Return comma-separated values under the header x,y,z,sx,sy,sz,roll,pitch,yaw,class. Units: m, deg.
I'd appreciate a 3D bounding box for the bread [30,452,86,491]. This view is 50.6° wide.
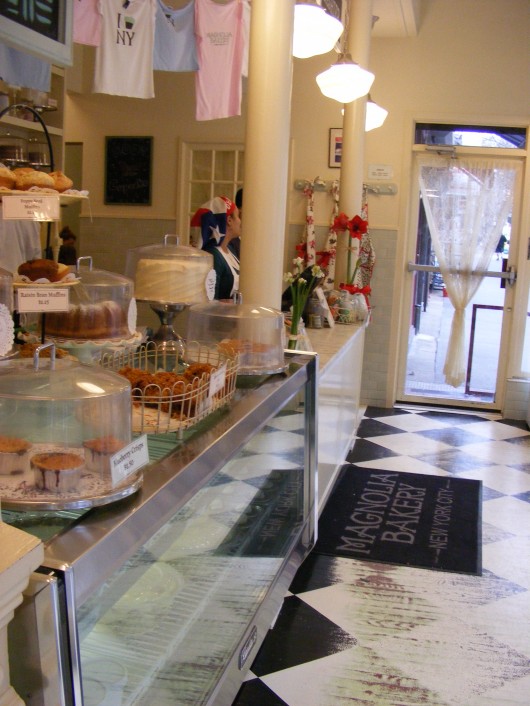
x,y,z,sx,sy,sz,roll,pitch,yaw,class
-0.260,0.149,0.706,0.051,0.026,0.049,1,0,40,bread

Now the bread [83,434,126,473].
x,y,z,sx,sy,sz,roll,pitch,yaw,class
-0.215,0.133,0.759,0.047,0.028,0.046,8,11,12,bread

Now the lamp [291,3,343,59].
x,y,z,sx,sy,sz,roll,pitch,yaw,class
0.267,-1.612,2.810,0.230,0.130,0.389,3,7,3,lamp

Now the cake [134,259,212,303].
x,y,z,sx,sy,sz,roll,pitch,yaw,class
-0.292,-0.220,1.795,0.177,0.099,0.169,5,5,-3,cake
